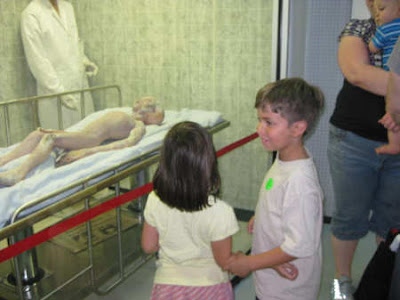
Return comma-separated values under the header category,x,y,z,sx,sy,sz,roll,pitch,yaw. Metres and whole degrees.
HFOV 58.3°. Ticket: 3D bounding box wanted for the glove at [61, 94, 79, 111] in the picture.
category,x,y,z,sx,sy,sz,roll,pitch,yaw
glove,-0.558,-0.210,1.544,0.023,0.051,0.064,1,-12,39
